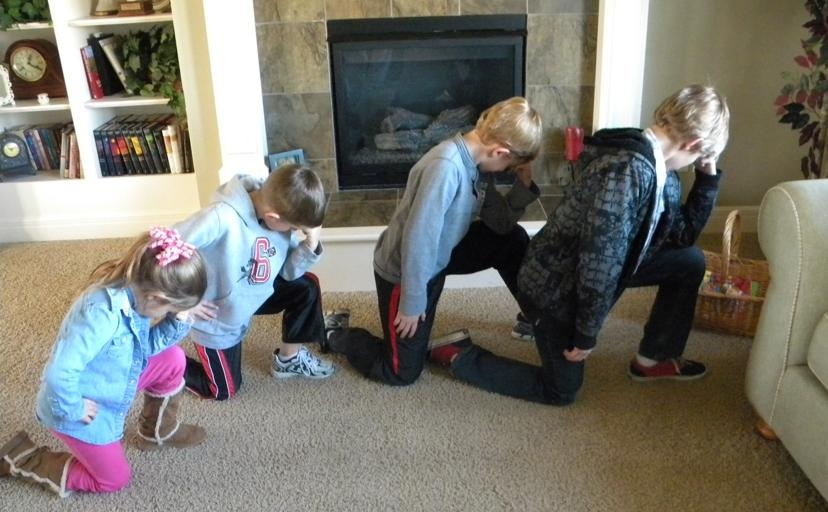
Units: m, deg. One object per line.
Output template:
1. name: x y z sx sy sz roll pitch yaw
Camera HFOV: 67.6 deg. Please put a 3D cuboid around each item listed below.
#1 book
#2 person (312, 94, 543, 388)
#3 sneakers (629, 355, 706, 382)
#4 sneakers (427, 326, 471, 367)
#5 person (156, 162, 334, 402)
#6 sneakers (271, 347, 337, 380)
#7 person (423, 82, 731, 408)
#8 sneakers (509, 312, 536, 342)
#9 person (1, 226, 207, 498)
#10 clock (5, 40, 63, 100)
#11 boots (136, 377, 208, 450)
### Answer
1. book: -1.988 -0.965 4.345 1.058 0.985 0.971 -4 23 -2
2. person: 0.130 -0.077 2.824 1.119 1.280 0.574 -10 27 -18
3. sneakers: 1.148 0.522 2.826 0.328 0.127 0.127 -5 29 -1
4. sneakers: 0.174 0.419 2.926 0.164 0.062 0.163 -30 9 -20
5. person: -0.771 0.126 2.679 0.858 1.005 0.480 -5 19 -19
6. sneakers: -0.508 0.486 2.866 0.278 0.137 0.134 1 29 -11
7. person: 0.754 0.001 2.679 1.152 1.327 0.542 -7 22 -7
8. sneakers: 0.540 0.357 3.080 0.081 0.116 0.171 4 5 5
9. person: -1.249 0.475 2.521 0.801 1.005 0.514 8 36 -24
10. clock: -2.434 -1.209 3.983 0.396 0.379 0.143 -2 19 -7
11. boots: -0.945 0.698 2.553 0.337 0.326 0.172 -5 38 -22
